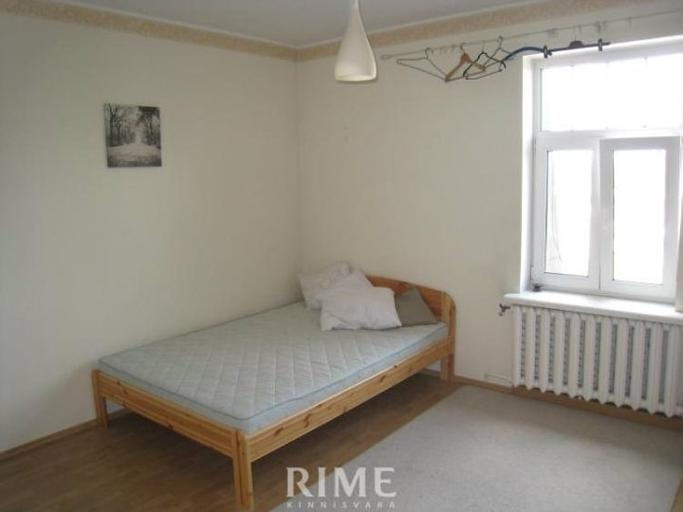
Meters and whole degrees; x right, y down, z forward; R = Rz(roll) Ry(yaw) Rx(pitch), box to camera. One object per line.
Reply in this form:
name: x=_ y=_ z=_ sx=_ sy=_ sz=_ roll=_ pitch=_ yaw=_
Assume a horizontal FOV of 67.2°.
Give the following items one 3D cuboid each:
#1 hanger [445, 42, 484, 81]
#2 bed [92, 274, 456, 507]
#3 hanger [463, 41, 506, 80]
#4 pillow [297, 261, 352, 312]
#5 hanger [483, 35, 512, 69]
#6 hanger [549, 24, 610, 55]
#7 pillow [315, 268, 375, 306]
hanger: x=1.027 y=-1.598 z=4.232 sx=0.370 sy=0.274 sz=0.021 roll=2 pitch=27 yaw=45
bed: x=-0.338 y=0.787 z=3.833 sx=1.344 sy=0.708 sz=1.863 roll=10 pitch=16 yaw=41
hanger: x=1.168 y=-1.582 z=4.152 sx=0.308 sy=0.231 sz=0.106 roll=6 pitch=27 yaw=33
pillow: x=-0.154 y=0.293 z=5.001 sx=0.433 sy=0.457 sz=0.138 roll=-21 pitch=-31 yaw=3
hanger: x=1.251 y=-1.627 z=4.100 sx=0.226 sy=0.209 sz=0.089 roll=17 pitch=31 yaw=38
hanger: x=1.771 y=-1.598 z=3.834 sx=0.433 sy=0.185 sz=0.258 roll=7 pitch=16 yaw=26
pillow: x=0.041 y=0.254 z=4.797 sx=0.355 sy=0.111 sz=0.369 roll=-25 pitch=26 yaw=-9
